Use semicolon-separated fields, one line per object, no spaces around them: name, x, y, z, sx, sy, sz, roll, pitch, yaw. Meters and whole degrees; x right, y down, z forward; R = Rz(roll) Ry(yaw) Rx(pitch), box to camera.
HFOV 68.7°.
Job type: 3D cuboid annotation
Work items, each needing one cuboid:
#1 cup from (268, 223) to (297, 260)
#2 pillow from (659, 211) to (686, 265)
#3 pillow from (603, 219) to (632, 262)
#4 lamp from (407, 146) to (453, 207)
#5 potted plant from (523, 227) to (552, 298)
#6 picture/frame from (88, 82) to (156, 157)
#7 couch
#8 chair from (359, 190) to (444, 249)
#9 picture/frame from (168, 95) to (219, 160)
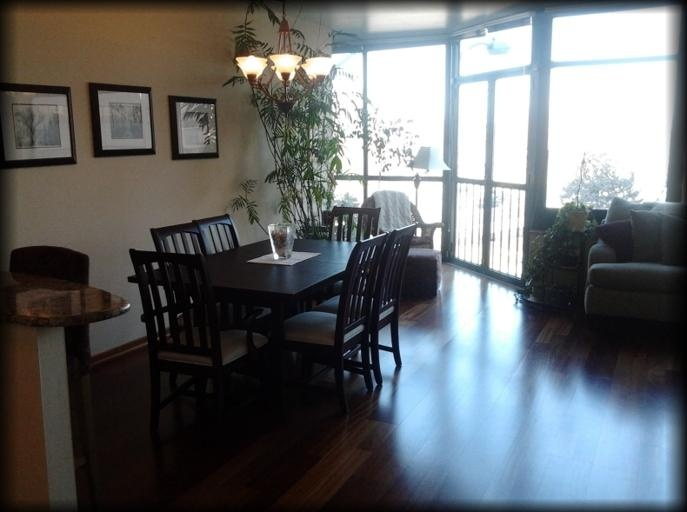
cup;-0.451;-0.136;3.695;0.213;0.277;0.217;2;19;-1
pillow;2.813;-0.142;4.305;0.127;0.351;0.336;2;-3;24
pillow;2.479;-0.133;4.518;0.305;0.320;0.098;-6;-15;16
lamp;1.084;-0.979;6.346;0.497;0.769;0.985;1;8;10
potted plant;1.916;0.096;5.012;0.166;0.721;0.311;-1;8;-4
picture/frame;-1.817;-1.108;4.060;0.046;0.671;0.638;2;6;32
couch;2.578;0.020;4.445;0.714;1.012;0.849;4;9;29
chair;0.749;-0.494;6.321;0.734;0.939;0.780;-4;8;-27
picture/frame;-1.383;-1.201;4.728;0.578;0.558;0.035;8;13;31
